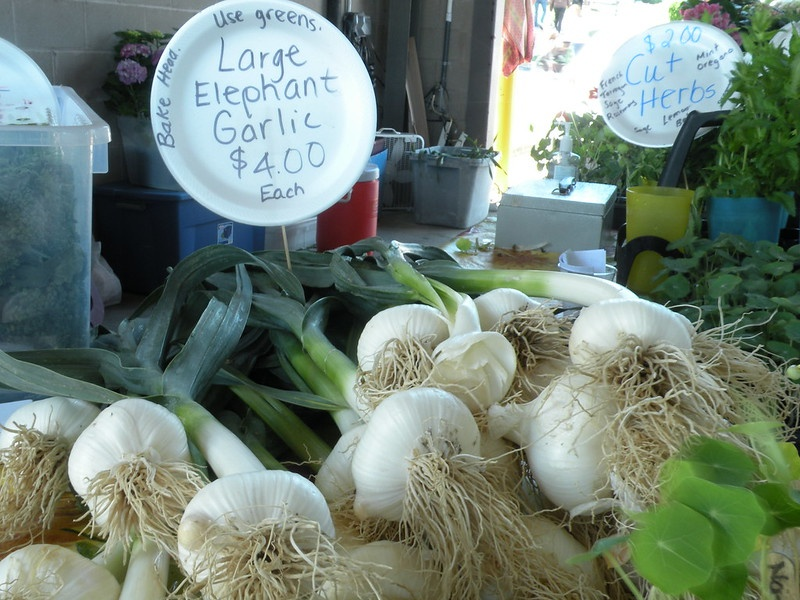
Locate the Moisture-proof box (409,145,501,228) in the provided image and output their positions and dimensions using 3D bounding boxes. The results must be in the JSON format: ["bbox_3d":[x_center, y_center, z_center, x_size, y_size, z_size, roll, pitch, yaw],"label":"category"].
[{"bbox_3d":[0.419,-0.976,4.633,0.537,0.559,0.659,6,19,21],"label":"Moisture-proof box"}]

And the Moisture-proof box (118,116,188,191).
[{"bbox_3d":[-1.315,-0.764,3.174,0.494,0.354,0.153,13,12,37],"label":"Moisture-proof box"}]

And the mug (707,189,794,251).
[{"bbox_3d":[0.846,-0.177,1.486,0.136,0.123,0.158,-2,4,-37],"label":"mug"}]

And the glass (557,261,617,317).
[{"bbox_3d":[0.323,-0.021,1.077,0.088,0.091,0.104,-3,15,2],"label":"glass"}]
